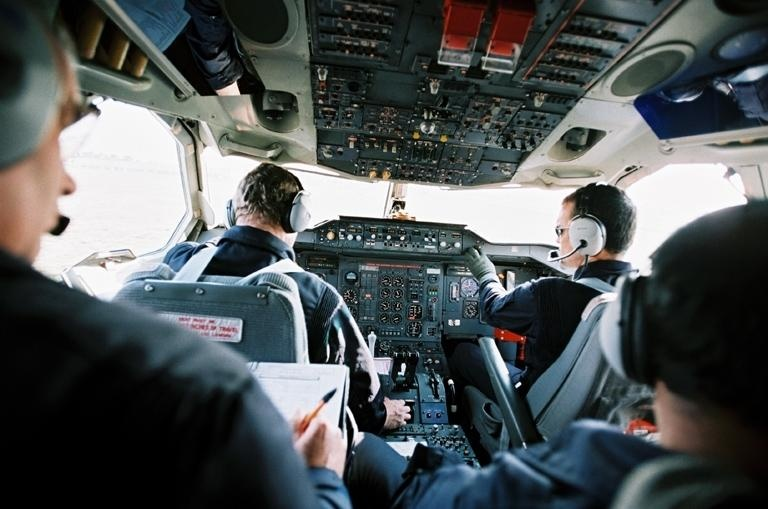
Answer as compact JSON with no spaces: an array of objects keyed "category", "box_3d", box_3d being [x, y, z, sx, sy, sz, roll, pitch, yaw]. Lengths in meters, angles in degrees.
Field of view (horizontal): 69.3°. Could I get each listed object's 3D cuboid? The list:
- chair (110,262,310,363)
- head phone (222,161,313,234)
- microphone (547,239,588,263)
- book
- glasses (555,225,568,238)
[{"category":"chair","box_3d":[-0.613,0.202,2.216,0.392,0.481,0.486,2,4,3]},{"category":"head phone","box_3d":[-0.581,-0.279,2.785,0.452,0.359,0.188,-4,-8,20]},{"category":"microphone","box_3d":[0.951,-0.029,2.855,0.120,0.052,0.153,-23,0,-25]},{"category":"book","box_3d":[-0.278,0.442,1.778,0.256,0.056,0.246,2,12,0]},{"category":"glasses","box_3d":[0.973,-0.129,3.068,0.043,0.052,0.028,2,5,-4]}]
